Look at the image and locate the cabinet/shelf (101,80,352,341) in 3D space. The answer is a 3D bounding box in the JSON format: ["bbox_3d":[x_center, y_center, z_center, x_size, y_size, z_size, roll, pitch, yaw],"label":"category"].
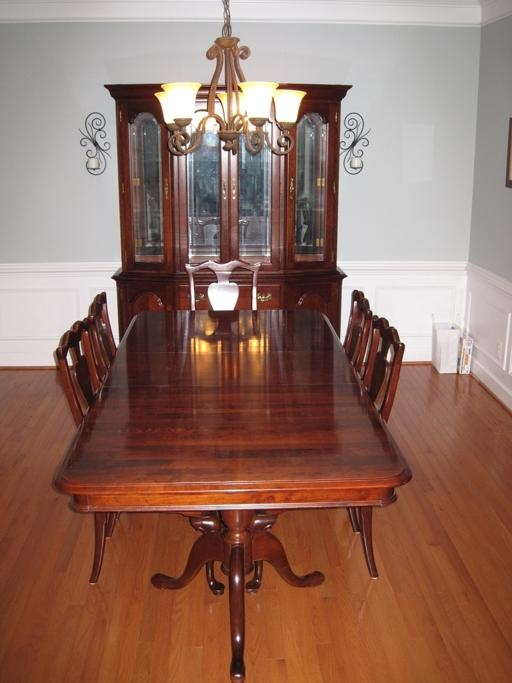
[{"bbox_3d":[-0.194,-0.845,3.241,1.656,2.233,0.550,-1,15,-1],"label":"cabinet/shelf"}]

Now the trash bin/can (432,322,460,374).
[{"bbox_3d":[1.607,0.048,4.198,0.222,0.409,0.316,1,6,13],"label":"trash bin/can"}]
